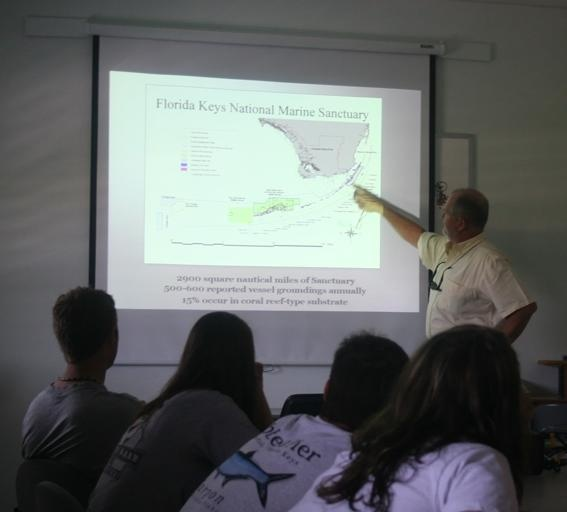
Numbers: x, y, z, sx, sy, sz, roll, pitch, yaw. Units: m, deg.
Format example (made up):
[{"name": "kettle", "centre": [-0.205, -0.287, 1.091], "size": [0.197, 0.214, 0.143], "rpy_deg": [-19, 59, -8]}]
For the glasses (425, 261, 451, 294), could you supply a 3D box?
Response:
[{"name": "glasses", "centre": [0.905, 0.142, 3.539], "size": [0.061, 0.167, 0.114], "rpy_deg": [30, -2, -31]}]
